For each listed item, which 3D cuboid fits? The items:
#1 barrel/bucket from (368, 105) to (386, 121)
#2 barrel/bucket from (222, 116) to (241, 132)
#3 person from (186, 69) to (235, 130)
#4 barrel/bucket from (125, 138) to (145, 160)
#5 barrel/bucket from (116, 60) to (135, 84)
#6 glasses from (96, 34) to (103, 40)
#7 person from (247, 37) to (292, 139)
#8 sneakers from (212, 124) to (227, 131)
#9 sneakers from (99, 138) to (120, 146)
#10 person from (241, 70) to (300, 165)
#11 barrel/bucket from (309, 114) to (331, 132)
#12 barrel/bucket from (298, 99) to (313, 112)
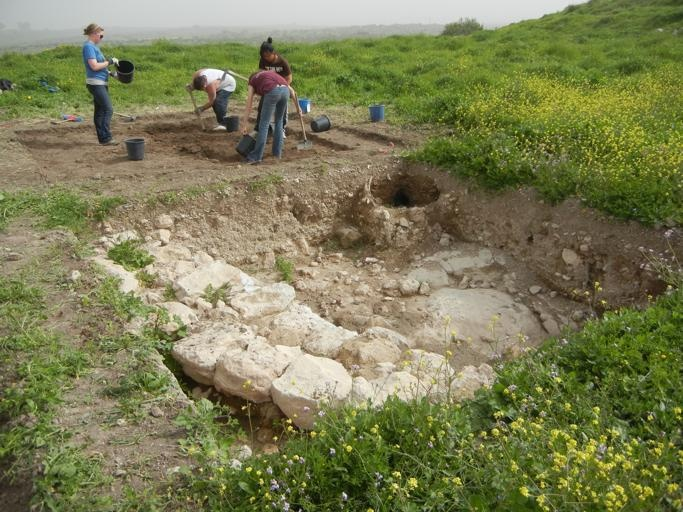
[{"bbox_3d":[0.742,-3.019,11.680,0.325,0.305,0.333,-4,21,1],"label":"barrel/bucket"},{"bbox_3d":[-2.170,-2.582,10.839,0.328,0.280,0.309,0,25,0],"label":"barrel/bucket"},{"bbox_3d":[-2.418,-2.930,10.474,0.702,1.167,1.045,3,29,0],"label":"person"},{"bbox_3d":[-3.379,-1.720,9.026,0.314,0.297,0.361,5,19,-3],"label":"barrel/bucket"},{"bbox_3d":[-3.955,-3.392,10.074,0.352,0.308,0.433,-8,66,-17],"label":"barrel/bucket"},{"bbox_3d":[-4.034,-3.646,9.210,0.050,0.093,0.127,18,19,-27],"label":"glasses"},{"bbox_3d":[-1.360,-3.018,10.409,0.765,2.003,0.813,-2,27,-35],"label":"person"},{"bbox_3d":[-2.371,-2.472,10.740,0.153,0.060,0.125,2,36,-1],"label":"sneakers"},{"bbox_3d":[-4.148,-2.010,9.866,0.335,0.153,0.122,-6,13,3],"label":"sneakers"},{"bbox_3d":[-1.217,-2.377,9.345,0.732,1.498,1.170,5,29,4],"label":"person"},{"bbox_3d":[-0.410,-2.546,10.806,0.436,0.356,0.362,-8,30,-18],"label":"barrel/bucket"},{"bbox_3d":[-0.781,-3.280,12.022,0.356,0.267,0.338,0,24,0],"label":"barrel/bucket"}]
